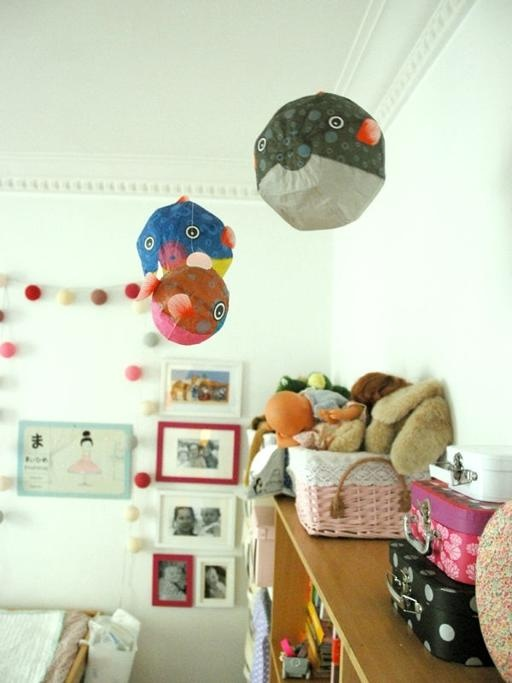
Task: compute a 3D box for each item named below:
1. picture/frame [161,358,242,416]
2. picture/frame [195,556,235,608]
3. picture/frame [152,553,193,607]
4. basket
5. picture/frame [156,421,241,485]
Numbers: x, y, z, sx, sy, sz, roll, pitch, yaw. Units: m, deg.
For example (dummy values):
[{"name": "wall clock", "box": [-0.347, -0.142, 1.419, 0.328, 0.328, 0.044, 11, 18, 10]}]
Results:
[{"name": "picture/frame", "box": [-0.217, 0.193, 2.406, 0.253, 0.169, 0.017, 1, 0, 2]}, {"name": "picture/frame", "box": [-0.163, 0.968, 2.350, 0.215, 0.226, 0.026, 0, -6, -3]}, {"name": "picture/frame", "box": [-0.332, 0.958, 2.346, 0.226, 0.257, 0.019, 0, -9, -5]}, {"name": "basket", "box": [0.187, 0.258, 1.106, 0.166, 0.117, 0.199, 1, -5, -7]}, {"name": "picture/frame", "box": [-0.236, 0.460, 2.393, 0.279, 0.193, 0.011, 1, 2, -1]}]
